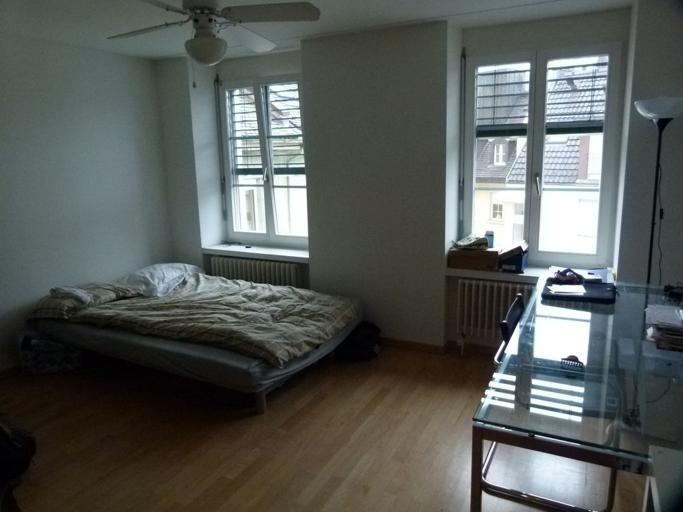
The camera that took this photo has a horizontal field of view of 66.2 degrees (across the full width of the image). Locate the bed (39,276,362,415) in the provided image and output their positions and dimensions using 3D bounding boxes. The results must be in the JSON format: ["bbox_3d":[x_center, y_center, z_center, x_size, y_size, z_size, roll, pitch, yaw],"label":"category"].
[{"bbox_3d":[-1.001,0.629,4.375,1.970,0.571,1.424,5,13,24],"label":"bed"}]

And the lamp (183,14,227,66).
[{"bbox_3d":[-0.815,-1.310,3.155,0.239,0.287,0.239,-9,32,-18],"label":"lamp"}]

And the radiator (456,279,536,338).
[{"bbox_3d":[1.297,0.507,4.377,0.676,0.591,0.099,0,15,-15],"label":"radiator"}]

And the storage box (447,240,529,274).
[{"bbox_3d":[1.169,0.010,4.250,0.614,0.237,0.162,3,12,13],"label":"storage box"}]
